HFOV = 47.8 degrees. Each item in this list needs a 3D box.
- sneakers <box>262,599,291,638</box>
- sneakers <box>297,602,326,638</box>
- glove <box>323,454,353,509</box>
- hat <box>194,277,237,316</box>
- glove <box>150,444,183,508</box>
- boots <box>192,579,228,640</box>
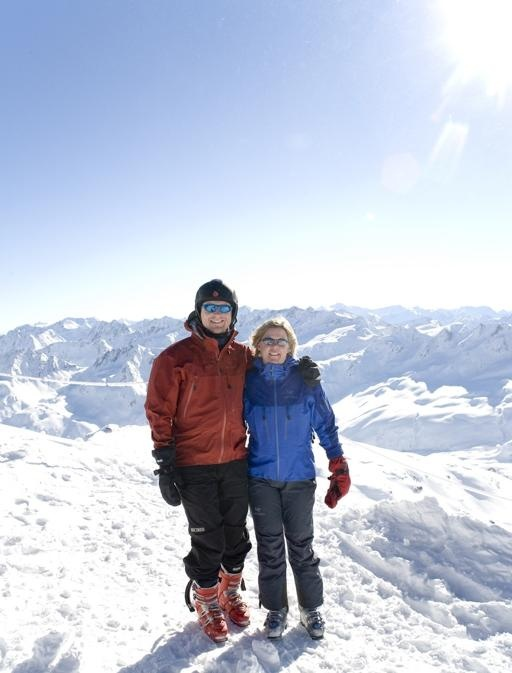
[{"bbox_3d":[0.204,2.823,5.781,0.228,0.260,0.606,-2,-13,5],"label":"sneakers"},{"bbox_3d":[0.564,2.868,5.792,0.130,0.149,0.348,1,-8,-12],"label":"sneakers"},{"bbox_3d":[0.919,1.598,6.411,0.389,0.518,0.180,6,-1,7],"label":"glove"},{"bbox_3d":[-0.403,-0.371,5.752,0.417,0.449,0.527,3,-36,-2],"label":"hat"},{"bbox_3d":[-0.861,1.373,5.698,0.230,0.494,0.333,3,-2,42],"label":"glove"},{"bbox_3d":[-0.439,2.761,5.816,0.245,0.444,0.663,-4,2,-21],"label":"boots"}]
